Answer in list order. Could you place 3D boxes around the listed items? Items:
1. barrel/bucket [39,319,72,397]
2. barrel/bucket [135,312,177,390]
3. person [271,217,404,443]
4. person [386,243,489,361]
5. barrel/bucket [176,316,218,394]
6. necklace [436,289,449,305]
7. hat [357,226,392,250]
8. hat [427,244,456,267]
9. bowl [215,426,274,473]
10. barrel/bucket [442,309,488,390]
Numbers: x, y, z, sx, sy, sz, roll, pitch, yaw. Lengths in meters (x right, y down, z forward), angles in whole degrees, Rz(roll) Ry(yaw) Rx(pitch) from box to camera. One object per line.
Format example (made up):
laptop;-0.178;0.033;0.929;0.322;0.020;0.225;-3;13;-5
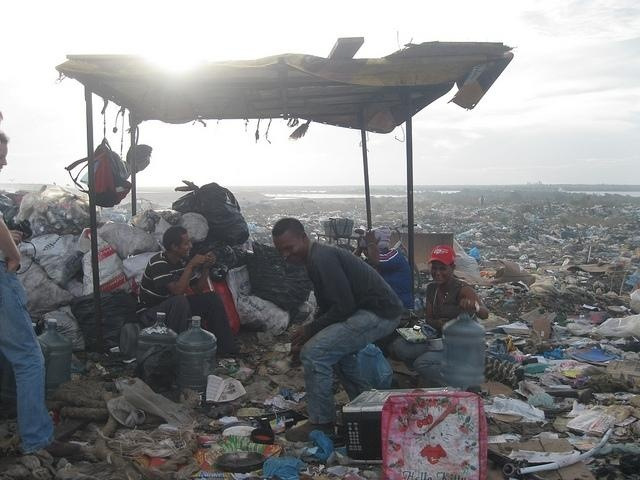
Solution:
barrel/bucket;-2.362;1.028;4.545;0.347;0.578;0.337;8;12;-2
barrel/bucket;-1.528;1.051;4.761;0.390;0.685;0.295;-3;11;-19
person;0.013;0.641;4.442;1.068;1.758;0.911;-1;2;-31
person;1.084;0.607;4.645;0.934;0.932;0.799;5;2;29
barrel/bucket;-1.131;1.053;4.679;0.355;0.668;0.247;-3;11;-16
necklace;1.124;0.533;4.746;0.102;0.170;0.136;-1;-8;-15
hat;0.716;-0.026;6.473;0.395;0.266;0.278;-7;9;-10
hat;1.122;0.140;4.667;0.213;0.174;0.154;5;11;23
bowl;-0.623;1.573;3.873;0.474;0.187;0.347;1;6;-31
barrel/bucket;0.998;0.784;3.557;0.292;0.541;0.166;3;11;14
